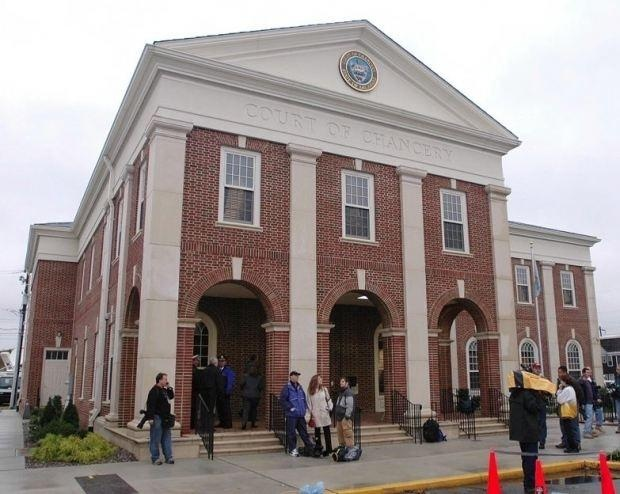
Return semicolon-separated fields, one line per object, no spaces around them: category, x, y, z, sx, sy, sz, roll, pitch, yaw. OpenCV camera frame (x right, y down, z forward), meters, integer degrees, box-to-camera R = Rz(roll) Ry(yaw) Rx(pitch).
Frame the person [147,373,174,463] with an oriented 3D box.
person;-3.515;4.040;12.424;0.699;2.042;0.692;4;-16;-16

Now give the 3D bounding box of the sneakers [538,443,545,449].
sneakers;6.424;5.458;14.451;0.099;0.235;0.225;4;-7;-1

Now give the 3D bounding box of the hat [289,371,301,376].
hat;-0.351;3.349;13.912;0.257;0.100;0.194;2;-9;-9

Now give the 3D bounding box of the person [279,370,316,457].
person;-0.336;4.356;13.822;0.800;2.085;0.533;0;-15;-4

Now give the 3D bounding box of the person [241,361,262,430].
person;-1.804;4.617;16.185;0.596;1.983;0.558;12;-40;-15

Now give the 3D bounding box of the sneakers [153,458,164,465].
sneakers;-3.579;5.037;12.375;0.103;0.118;0.251;8;-20;-27

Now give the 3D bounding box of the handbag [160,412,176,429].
handbag;-3.321;4.051;12.352;0.397;0.453;0.282;6;-11;-35
